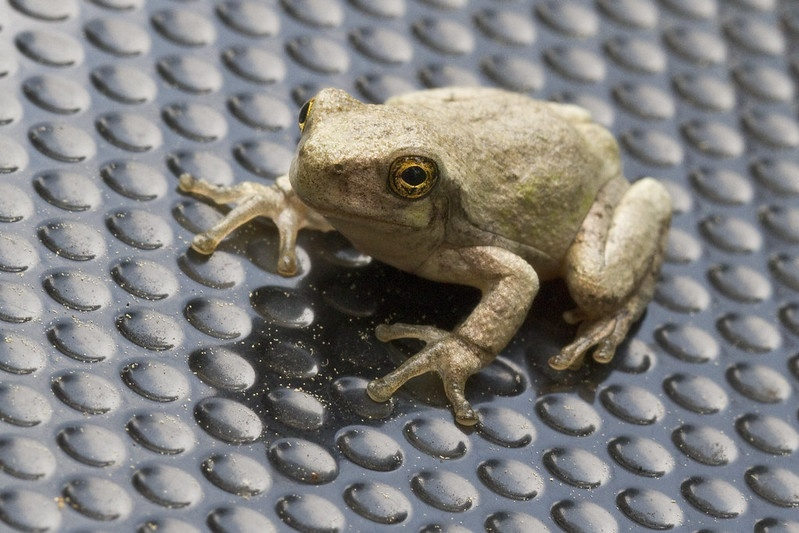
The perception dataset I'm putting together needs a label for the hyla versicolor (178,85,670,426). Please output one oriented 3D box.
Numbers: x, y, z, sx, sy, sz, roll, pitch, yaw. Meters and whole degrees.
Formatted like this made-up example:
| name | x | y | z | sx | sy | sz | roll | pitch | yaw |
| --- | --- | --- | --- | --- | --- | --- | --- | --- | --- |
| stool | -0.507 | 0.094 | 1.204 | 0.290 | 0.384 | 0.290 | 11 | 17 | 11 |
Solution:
| name | x | y | z | sx | sy | sz | roll | pitch | yaw |
| --- | --- | --- | --- | --- | --- | --- | --- | --- | --- |
| hyla versicolor | 0.158 | -0.205 | 3.266 | 1.049 | 1.298 | 1.346 | -11 | 42 | -7 |
